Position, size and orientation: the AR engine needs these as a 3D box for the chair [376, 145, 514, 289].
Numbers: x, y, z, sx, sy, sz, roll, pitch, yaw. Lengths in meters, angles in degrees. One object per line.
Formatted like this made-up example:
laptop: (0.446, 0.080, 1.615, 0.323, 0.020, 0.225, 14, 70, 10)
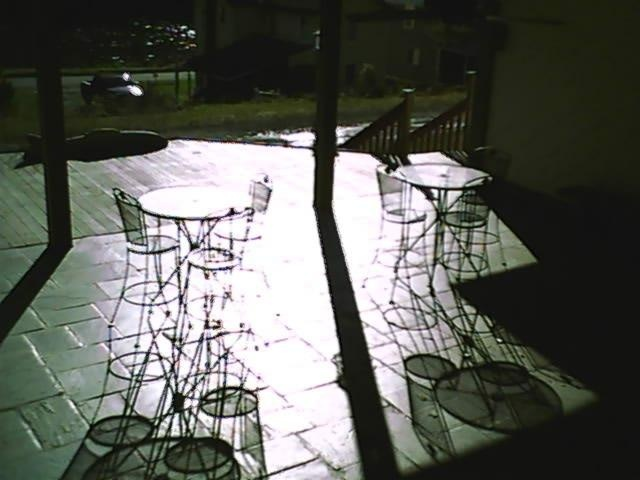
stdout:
chair: (1.320, -0.276, 6.231, 1.276, 1.104, 1.133, 10, 23, 15)
